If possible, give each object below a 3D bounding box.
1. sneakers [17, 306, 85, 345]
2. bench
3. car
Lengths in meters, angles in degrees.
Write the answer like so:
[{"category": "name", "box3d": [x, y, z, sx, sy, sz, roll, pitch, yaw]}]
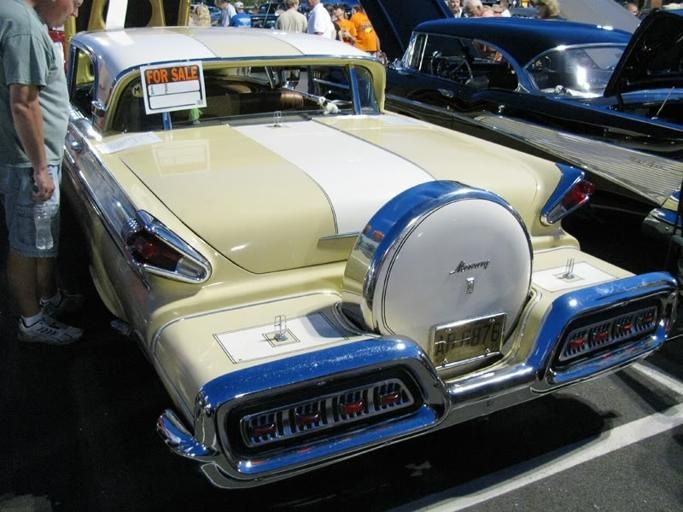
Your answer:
[{"category": "sneakers", "box3d": [-1.933, 0.493, 3.495, 0.459, 0.227, 0.181, 4, 28, -24]}, {"category": "bench", "box3d": [-0.796, -1.088, 3.704, 0.688, 0.124, 0.163, -8, 27, -24]}, {"category": "car", "box3d": [0.106, -0.648, 3.571, 3.527, 1.266, 4.042, -15, 39, -29]}]
